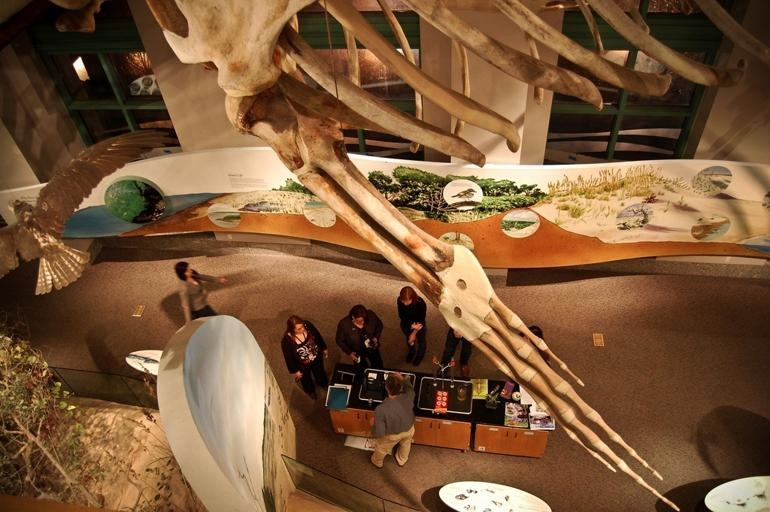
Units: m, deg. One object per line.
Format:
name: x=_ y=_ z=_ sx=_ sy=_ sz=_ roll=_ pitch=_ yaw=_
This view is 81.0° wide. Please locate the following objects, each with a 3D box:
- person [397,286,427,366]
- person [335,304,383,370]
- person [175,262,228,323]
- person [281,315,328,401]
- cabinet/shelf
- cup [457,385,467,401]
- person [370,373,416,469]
person: x=0.390 y=0.902 z=6.080 sx=0.360 sy=1.292 sz=0.405 roll=8 pitch=31 yaw=14
person: x=-0.323 y=1.066 z=5.856 sx=0.576 sy=1.091 sz=0.267 roll=-5 pitch=31 yaw=-8
person: x=-2.581 y=0.528 z=6.335 sx=0.422 sy=0.859 sz=0.410 roll=-11 pitch=72 yaw=-10
person: x=-0.986 y=1.279 z=5.766 sx=0.511 sy=1.377 sz=0.284 roll=-25 pitch=38 yaw=-35
cabinet/shelf: x=0.751 y=2.044 z=5.293 sx=2.125 sy=0.436 sz=0.250 roll=4 pitch=35 yaw=7
cup: x=0.925 y=1.626 z=5.357 sx=0.090 sy=0.035 sz=0.136 roll=1 pitch=57 yaw=7
person: x=0.082 y=1.894 z=5.200 sx=0.506 sy=1.397 sz=0.335 roll=-4 pitch=30 yaw=-6
